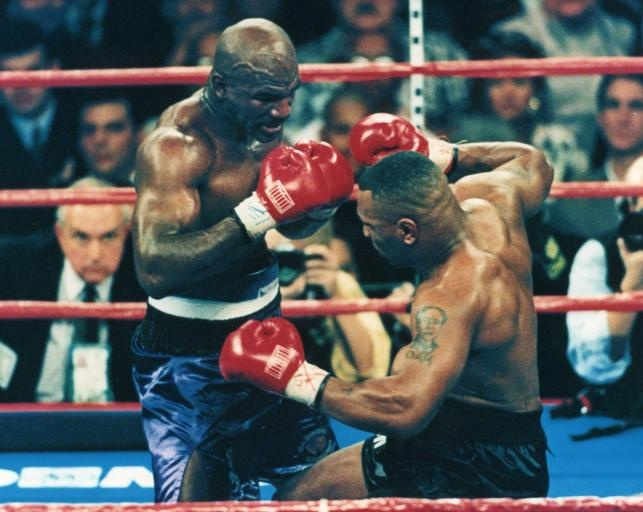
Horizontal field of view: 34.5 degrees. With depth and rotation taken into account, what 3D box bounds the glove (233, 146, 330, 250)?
[{"bbox_3d":[-0.140,-0.212,4.069,0.382,0.179,0.277,-39,70,-8],"label":"glove"}]
